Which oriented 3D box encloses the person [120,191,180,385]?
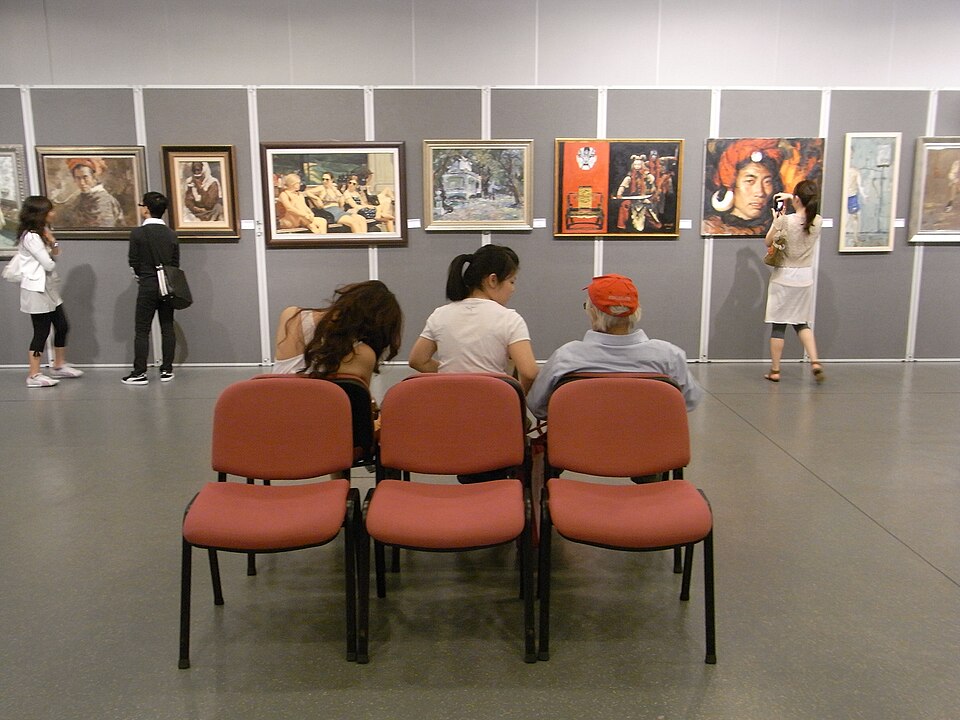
[{"bbox_3d":[-3.518,-0.751,7.995,0.716,1.928,0.552,-12,16,-37],"label":"person"}]

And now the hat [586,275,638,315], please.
[{"bbox_3d":[0.725,-0.347,4.138,0.248,0.198,0.193,-2,13,1],"label":"hat"}]

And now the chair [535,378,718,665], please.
[{"bbox_3d":[0.752,0.774,3.854,0.930,1.346,0.618,-1,13,4],"label":"chair"}]

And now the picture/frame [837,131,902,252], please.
[{"bbox_3d":[4.359,-1.845,8.499,0.664,1.298,0.182,-3,13,-4],"label":"picture/frame"}]

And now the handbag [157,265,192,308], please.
[{"bbox_3d":[-3.215,-0.748,7.941,0.098,0.385,0.373,-21,-23,22],"label":"handbag"}]

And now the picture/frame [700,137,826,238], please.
[{"bbox_3d":[3.123,-1.927,8.344,1.039,0.952,0.049,0,7,-1],"label":"picture/frame"}]

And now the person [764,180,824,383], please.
[{"bbox_3d":[3.361,-0.838,8.092,0.602,2.060,1.243,4,14,25],"label":"person"}]

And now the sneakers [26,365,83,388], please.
[{"bbox_3d":[-4.468,0.198,7.982,0.478,0.213,0.186,-6,11,-21],"label":"sneakers"}]

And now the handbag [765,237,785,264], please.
[{"bbox_3d":[3.105,-1.127,7.965,0.107,0.275,0.229,4,12,2],"label":"handbag"}]

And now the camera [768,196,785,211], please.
[{"bbox_3d":[3.314,-1.730,8.420,0.118,0.189,0.056,2,-1,6],"label":"camera"}]

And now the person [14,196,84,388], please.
[{"bbox_3d":[-4.581,-0.709,7.926,0.510,1.917,0.778,-9,14,-28],"label":"person"}]
